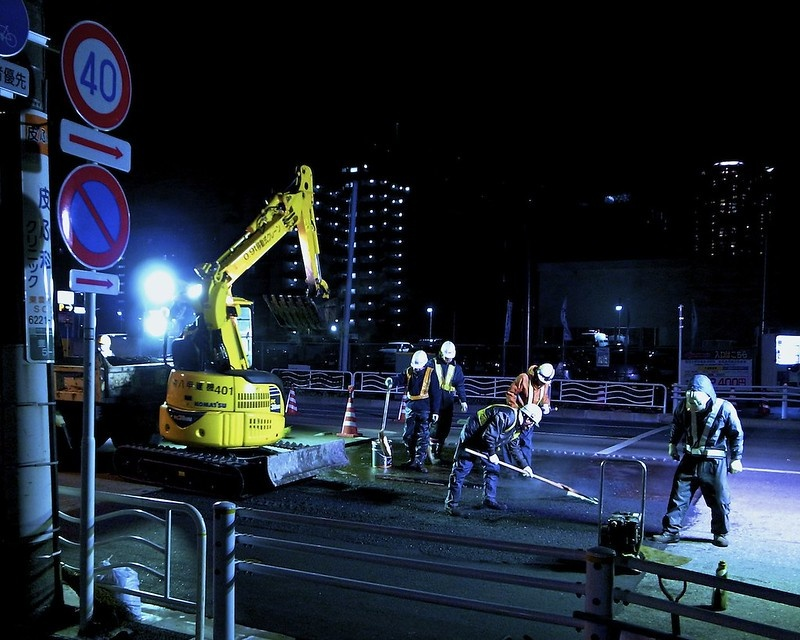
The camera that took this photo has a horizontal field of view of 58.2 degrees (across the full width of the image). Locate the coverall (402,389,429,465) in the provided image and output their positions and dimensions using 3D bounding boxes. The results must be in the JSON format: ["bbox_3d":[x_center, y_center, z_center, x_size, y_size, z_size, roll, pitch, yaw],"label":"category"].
[{"bbox_3d":[0.314,2.109,13.344,0.317,1.258,0.555,2,-1,-39],"label":"coverall"}]

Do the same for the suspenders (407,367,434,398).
[{"bbox_3d":[0.445,1.174,13.334,0.361,0.574,0.197,2,-2,11],"label":"suspenders"}]

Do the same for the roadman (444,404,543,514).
[{"bbox_3d":[1.347,1.996,10.426,1.227,1.731,0.783,5,0,3],"label":"roadman"}]

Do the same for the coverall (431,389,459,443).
[{"bbox_3d":[0.976,1.882,13.613,0.371,0.981,0.296,0,-10,-6],"label":"coverall"}]

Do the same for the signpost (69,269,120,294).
[{"bbox_3d":[-2.548,-0.314,6.089,0.199,0.180,0.602,1,-1,9],"label":"signpost"}]

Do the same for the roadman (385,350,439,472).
[{"bbox_3d":[0.408,1.709,13.626,0.847,2.116,0.758,1,-1,23],"label":"roadman"}]
